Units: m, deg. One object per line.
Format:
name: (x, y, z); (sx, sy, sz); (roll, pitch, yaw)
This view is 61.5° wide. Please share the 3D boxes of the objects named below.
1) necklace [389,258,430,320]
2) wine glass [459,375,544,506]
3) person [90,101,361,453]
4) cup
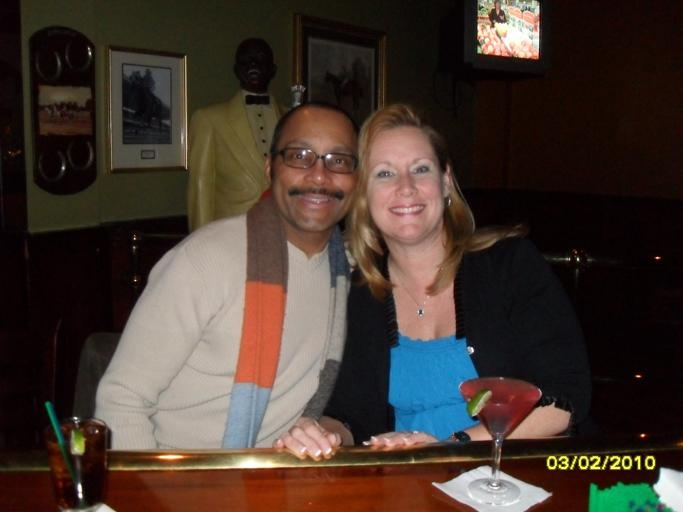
necklace: (0.314, 0.142, 2.755); (0.104, 0.391, 0.095); (-27, -33, 4)
wine glass: (0.411, 0.538, 1.684); (0.261, 0.328, 0.267); (0, 2, -1)
person: (-0.412, 0.067, 2.417); (1.134, 1.471, 0.508); (-4, 7, -41)
cup: (-0.714, 0.577, 1.563); (0.150, 0.206, 0.138); (0, 5, 0)
